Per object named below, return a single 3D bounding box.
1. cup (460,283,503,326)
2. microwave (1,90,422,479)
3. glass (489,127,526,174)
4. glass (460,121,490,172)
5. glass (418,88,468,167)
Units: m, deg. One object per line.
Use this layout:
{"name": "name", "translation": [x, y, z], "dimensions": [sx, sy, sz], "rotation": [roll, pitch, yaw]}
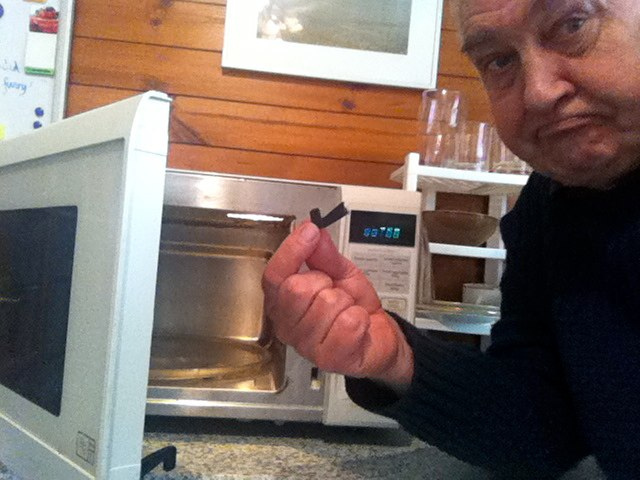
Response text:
{"name": "cup", "translation": [0.385, 0.156, 1.400], "dimensions": [0.082, 0.083, 0.124], "rotation": [3, -3, -4]}
{"name": "microwave", "translation": [-0.119, 0.061, 1.202], "dimensions": [0.876, 0.560, 0.862], "rotation": [3, -4, -23]}
{"name": "glass", "translation": [0.522, -0.257, 1.658], "dimensions": [0.098, 0.126, 0.140], "rotation": [16, 15, 30]}
{"name": "glass", "translation": [0.428, -0.260, 1.630], "dimensions": [0.084, 0.139, 0.094], "rotation": [-13, 15, -37]}
{"name": "glass", "translation": [0.356, -0.313, 1.722], "dimensions": [0.158, 0.243, 0.164], "rotation": [-12, 18, -39]}
